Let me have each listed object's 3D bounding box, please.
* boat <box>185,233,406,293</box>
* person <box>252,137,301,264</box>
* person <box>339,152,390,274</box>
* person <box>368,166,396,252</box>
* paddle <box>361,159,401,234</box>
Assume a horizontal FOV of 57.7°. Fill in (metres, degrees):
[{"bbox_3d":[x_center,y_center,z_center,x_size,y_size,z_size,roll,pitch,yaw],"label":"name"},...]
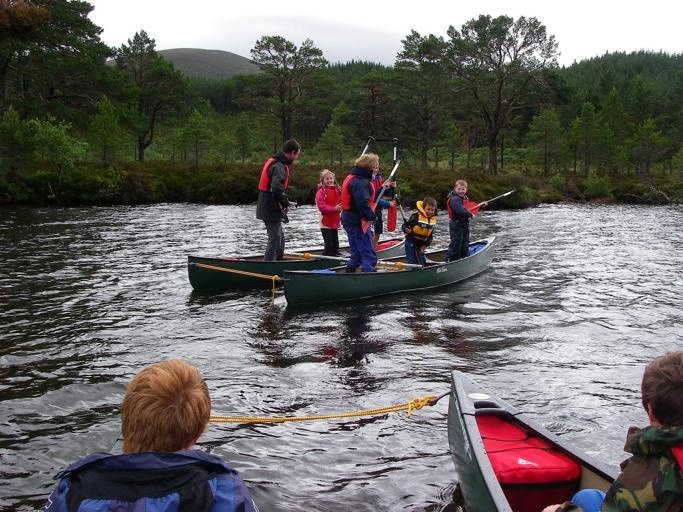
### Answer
[{"bbox_3d":[-0.566,0.121,11.616,4.470,0.647,0.943,-4,3,-29],"label":"boat"},{"bbox_3d":[-1.138,-0.993,11.069,0.716,2.143,0.917,0,16,-5],"label":"person"},{"bbox_3d":[0.299,-0.670,10.507,0.710,2.082,0.594,7,17,19],"label":"person"},{"bbox_3d":[0.781,-1.002,12.290,0.715,1.882,0.160,4,36,1],"label":"person"},{"bbox_3d":[0.756,-1.181,11.657,0.655,1.941,0.114,7,47,1],"label":"paddle"}]
